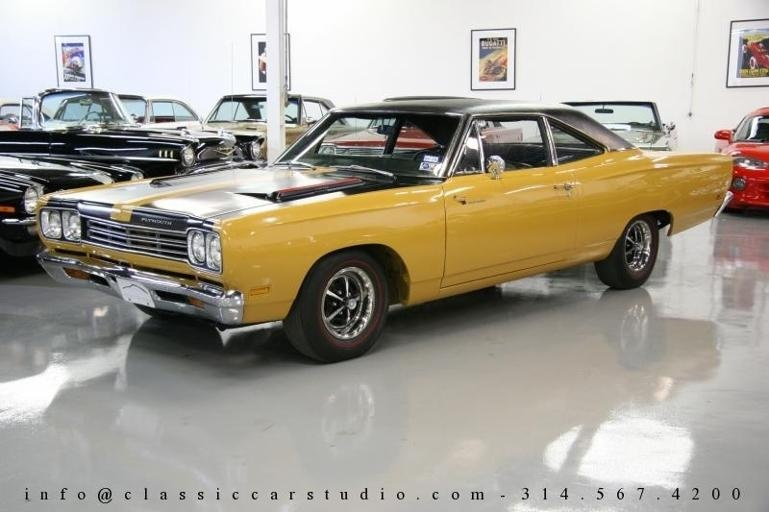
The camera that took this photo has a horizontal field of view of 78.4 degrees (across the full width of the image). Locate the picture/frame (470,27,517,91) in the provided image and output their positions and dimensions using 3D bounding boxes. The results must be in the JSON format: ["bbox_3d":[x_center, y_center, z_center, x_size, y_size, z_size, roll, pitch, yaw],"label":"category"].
[{"bbox_3d":[3.052,-5.540,13.048,1.822,2.173,0.084,0,6,11],"label":"picture/frame"}]
